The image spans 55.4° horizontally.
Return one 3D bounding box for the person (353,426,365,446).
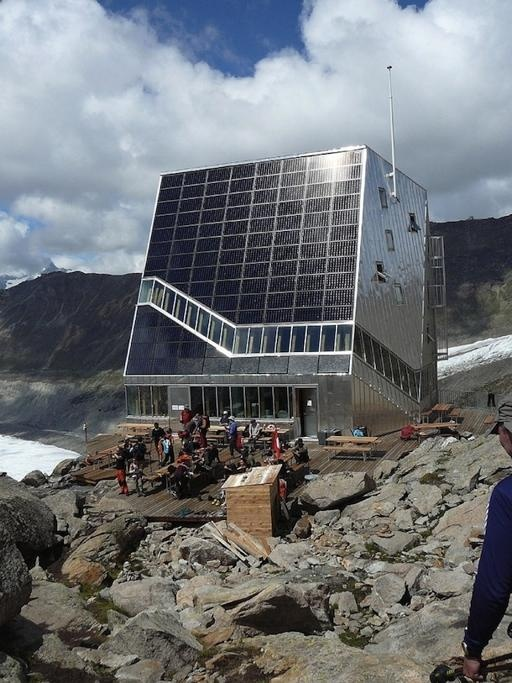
[{"bbox_3d":[6.257,5.756,29.759,0.817,1.065,0.402,1,-3,1],"label":"person"}]
